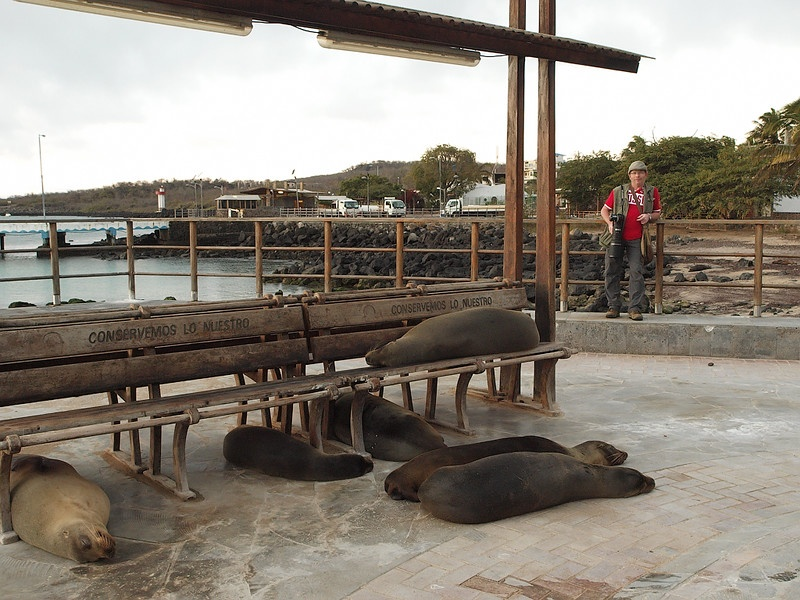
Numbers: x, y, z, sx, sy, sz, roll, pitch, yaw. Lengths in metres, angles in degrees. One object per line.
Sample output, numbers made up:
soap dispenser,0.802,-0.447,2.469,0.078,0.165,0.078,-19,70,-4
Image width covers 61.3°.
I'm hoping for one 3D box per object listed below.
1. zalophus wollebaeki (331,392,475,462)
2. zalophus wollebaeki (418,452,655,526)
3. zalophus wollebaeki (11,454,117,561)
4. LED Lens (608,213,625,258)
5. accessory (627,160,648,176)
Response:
zalophus wollebaeki,-0.143,1.025,5.425,0.720,0.215,0.521,21,17,31
zalophus wollebaeki,0.865,1.180,4.359,1.465,0.344,0.286,-3,9,-16
zalophus wollebaeki,-1.985,1.237,4.022,1.020,0.341,0.486,7,11,42
LED Lens,2.689,-0.787,8.375,0.158,0.550,0.253,2,9,15
accessory,3.043,-1.654,8.501,0.231,0.242,0.304,3,8,6
